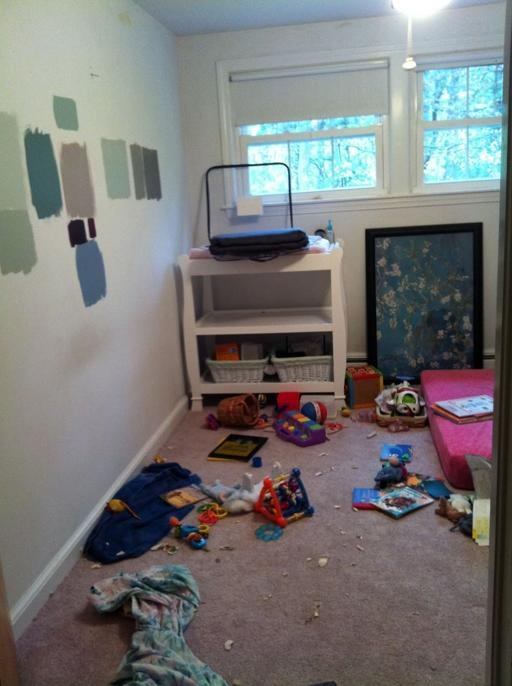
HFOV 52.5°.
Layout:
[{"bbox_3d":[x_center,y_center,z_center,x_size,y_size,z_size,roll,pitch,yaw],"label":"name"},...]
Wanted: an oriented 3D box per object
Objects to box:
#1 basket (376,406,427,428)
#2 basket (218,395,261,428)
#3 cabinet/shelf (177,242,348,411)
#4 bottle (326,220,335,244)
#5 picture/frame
[{"bbox_3d":[0.811,0.429,2.918,0.169,0.063,0.137,0,7,7],"label":"basket"},{"bbox_3d":[-0.111,0.387,3.066,0.211,0.198,0.222,0,13,33],"label":"basket"},{"bbox_3d":[0.041,-0.071,3.378,0.966,1.055,0.694,-1,2,1],"label":"cabinet/shelf"},{"bbox_3d":[0.488,-0.736,3.415,0.053,0.142,0.159,0,14,7],"label":"bottle"},{"bbox_3d":[1.121,-0.296,3.394,0.937,1.472,0.090,-1,6,7],"label":"picture/frame"}]
